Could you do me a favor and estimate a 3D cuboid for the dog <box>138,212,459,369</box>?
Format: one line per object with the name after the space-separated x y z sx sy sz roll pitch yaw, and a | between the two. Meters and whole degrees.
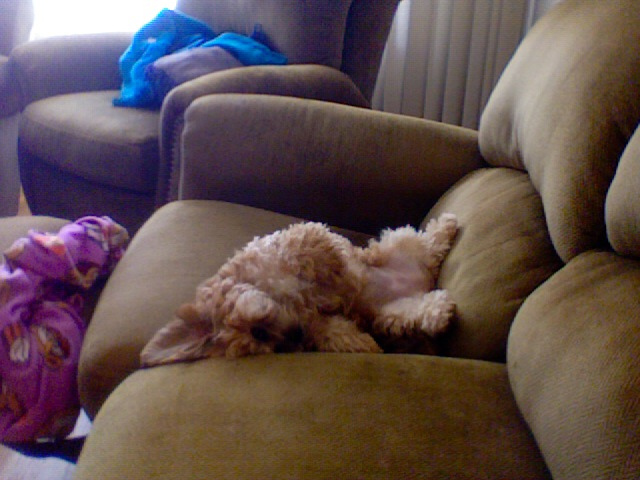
-0.030 0.106 1.082 0.455 0.192 0.297 -20 12 31 | dog

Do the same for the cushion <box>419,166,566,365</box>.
0.368 0.052 1.174 0.249 0.108 0.351 -1 59 60 | cushion
